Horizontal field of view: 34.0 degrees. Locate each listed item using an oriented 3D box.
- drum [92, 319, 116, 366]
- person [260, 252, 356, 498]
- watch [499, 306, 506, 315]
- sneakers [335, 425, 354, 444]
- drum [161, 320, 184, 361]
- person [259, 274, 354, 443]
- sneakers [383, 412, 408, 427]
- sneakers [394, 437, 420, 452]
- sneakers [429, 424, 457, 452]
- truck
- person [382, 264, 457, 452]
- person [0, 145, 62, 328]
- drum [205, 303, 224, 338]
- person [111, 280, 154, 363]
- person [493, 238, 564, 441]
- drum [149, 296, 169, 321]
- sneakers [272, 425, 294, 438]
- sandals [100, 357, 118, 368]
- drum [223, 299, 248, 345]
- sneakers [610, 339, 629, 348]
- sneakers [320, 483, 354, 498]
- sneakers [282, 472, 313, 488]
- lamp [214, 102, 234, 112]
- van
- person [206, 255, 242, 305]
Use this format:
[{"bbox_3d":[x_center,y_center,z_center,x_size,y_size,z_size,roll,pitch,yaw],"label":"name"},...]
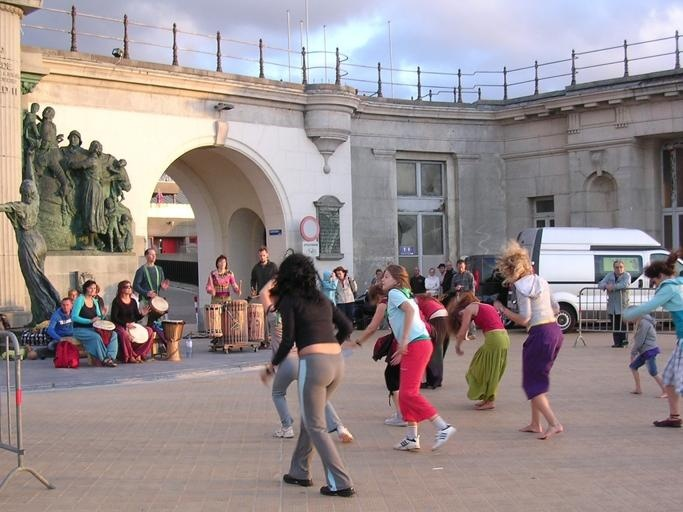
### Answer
[{"bbox_3d":[-4.811,1.703,22.785,0.449,0.926,0.448,0,9,0],"label":"drum"},{"bbox_3d":[-0.341,1.576,15.466,0.827,3.200,1.349,-9,13,-43],"label":"person"},{"bbox_3d":[2.451,0.804,17.061,0.031,0.106,0.072,-13,6,-39],"label":"watch"},{"bbox_3d":[0.032,2.707,17.032,0.118,0.193,0.257,-7,-27,34],"label":"sneakers"},{"bbox_3d":[-3.640,1.769,23.896,0.502,0.813,0.477,-2,-4,0],"label":"drum"},{"bbox_3d":[-0.499,1.506,17.088,1.142,2.636,1.122,5,7,-15],"label":"person"},{"bbox_3d":[0.868,2.608,17.892,0.389,0.236,0.152,1,-3,22],"label":"sneakers"},{"bbox_3d":[0.998,2.784,16.707,0.422,0.219,0.156,2,-3,14],"label":"sneakers"},{"bbox_3d":[1.519,2.667,16.590,0.231,0.548,0.195,28,28,-7],"label":"sneakers"},{"bbox_3d":[6.567,0.409,28.804,3.972,2.180,2.345,-3,1,-5],"label":"truck"},{"bbox_3d":[1.035,1.490,16.626,1.149,2.672,0.573,7,12,38],"label":"person"},{"bbox_3d":[-6.852,-0.058,24.803,1.058,3.314,0.579,-3,9,-17],"label":"person"},{"bbox_3d":[-2.860,1.368,24.754,0.574,0.696,0.589,5,0,-4],"label":"drum"},{"bbox_3d":[-4.433,1.329,23.319,0.842,1.630,0.824,12,10,32],"label":"person"},{"bbox_3d":[2.944,1.250,17.233,1.127,2.863,0.724,7,12,38],"label":"person"},{"bbox_3d":[-3.928,1.072,23.922,0.437,0.447,0.413,-6,-35,-42],"label":"drum"},{"bbox_3d":[-0.948,2.674,17.280,0.389,0.204,0.131,3,4,33],"label":"sneakers"},{"bbox_3d":[-4.745,2.122,22.759,0.375,0.180,0.148,-1,-1,6],"label":"sandals"},{"bbox_3d":[-2.386,1.421,25.033,0.649,0.997,0.660,-1,4,0],"label":"drum"},{"bbox_3d":[6.366,1.987,25.627,0.413,0.294,0.140,2,-2,0],"label":"sneakers"},{"bbox_3d":[-0.061,3.180,15.304,0.414,0.198,0.168,0,1,11],"label":"sneakers"},{"bbox_3d":[-0.621,3.098,15.634,0.399,0.164,0.151,7,-1,20],"label":"sneakers"},{"bbox_3d":[-3.195,-4.169,30.920,0.586,0.259,0.366,-8,12,-40],"label":"lamp"},{"bbox_3d":[3.950,0.980,30.077,1.614,2.131,2.257,-3,11,7],"label":"van"},{"bbox_3d":[-2.682,0.462,24.692,0.579,1.091,0.791,-1,9,-7],"label":"person"}]
